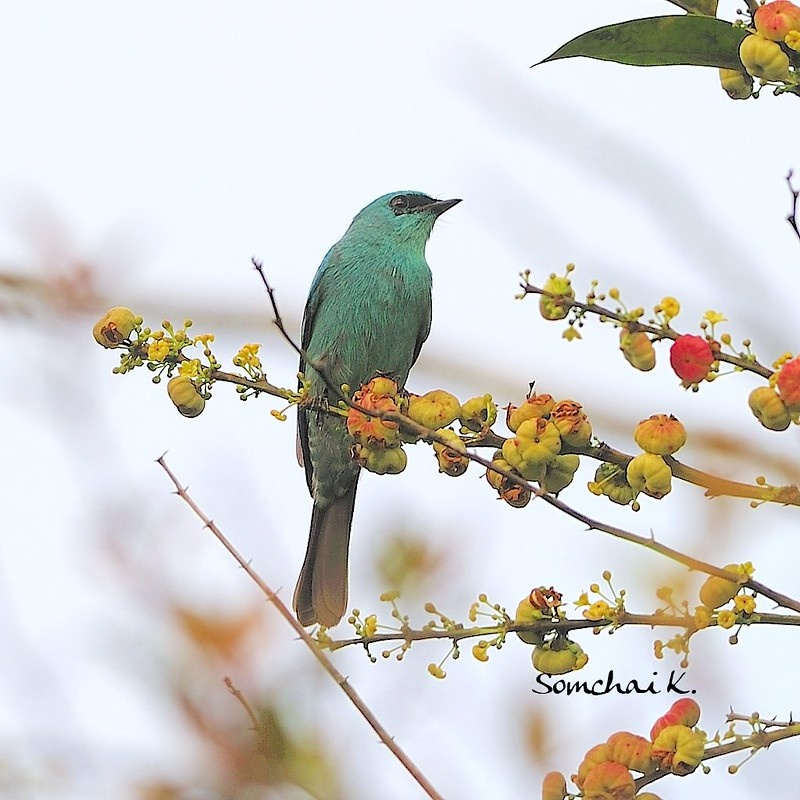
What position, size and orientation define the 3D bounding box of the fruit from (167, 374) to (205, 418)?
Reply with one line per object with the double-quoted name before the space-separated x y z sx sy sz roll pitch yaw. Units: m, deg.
"fruit" -0.626 -0.019 4.798 0.100 0.063 0.108 56 -14 -21
